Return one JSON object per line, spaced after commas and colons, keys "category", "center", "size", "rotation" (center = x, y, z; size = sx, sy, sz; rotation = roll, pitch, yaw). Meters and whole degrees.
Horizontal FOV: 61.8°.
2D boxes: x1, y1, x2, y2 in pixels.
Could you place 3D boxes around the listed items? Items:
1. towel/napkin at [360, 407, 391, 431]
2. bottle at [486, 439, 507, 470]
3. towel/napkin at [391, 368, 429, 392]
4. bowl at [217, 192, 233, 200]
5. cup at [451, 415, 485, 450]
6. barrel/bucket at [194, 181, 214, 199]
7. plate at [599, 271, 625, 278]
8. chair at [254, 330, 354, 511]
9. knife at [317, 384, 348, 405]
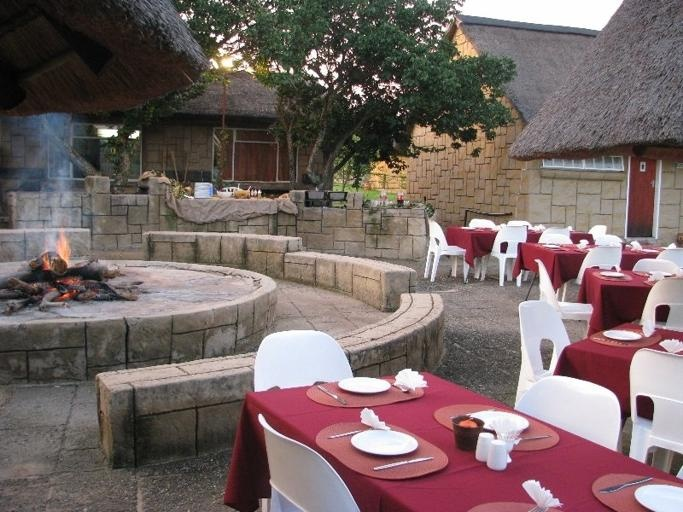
{"category": "towel/napkin", "center": [0.155, 0.755, 2.714], "size": [0.108, 0.044, 0.109], "rotation": [17, -14, 41]}
{"category": "bottle", "center": [0.645, 0.871, 2.491], "size": [0.084, 0.116, 0.116], "rotation": [-1, 1, -5]}
{"category": "towel/napkin", "center": [0.387, 0.684, 3.213], "size": [0.123, 0.055, 0.131], "rotation": [3, 4, 18]}
{"category": "bowl", "center": [-2.953, -1.554, 14.396], "size": [0.349, 0.143, 0.382], "rotation": [4, 13, -1]}
{"category": "cup", "center": [0.572, 0.806, 2.613], "size": [0.129, 0.103, 0.127], "rotation": [1, -1, 0]}
{"category": "barrel/bucket", "center": [-3.450, -1.658, 14.303], "size": [0.410, 0.343, 1.250], "rotation": [0, 13, -17]}
{"category": "plate", "center": [2.816, 0.184, 5.968], "size": [0.235, 0.042, 0.332], "rotation": [10, 14, 22]}
{"category": "chair", "center": [-0.268, 0.932, 3.610], "size": [0.755, 1.173, 0.853], "rotation": [0, -1, -17]}
{"category": "knife", "center": [-0.058, 0.758, 3.098], "size": [0.053, 0.019, 0.390], "rotation": [-5, 7, -23]}
